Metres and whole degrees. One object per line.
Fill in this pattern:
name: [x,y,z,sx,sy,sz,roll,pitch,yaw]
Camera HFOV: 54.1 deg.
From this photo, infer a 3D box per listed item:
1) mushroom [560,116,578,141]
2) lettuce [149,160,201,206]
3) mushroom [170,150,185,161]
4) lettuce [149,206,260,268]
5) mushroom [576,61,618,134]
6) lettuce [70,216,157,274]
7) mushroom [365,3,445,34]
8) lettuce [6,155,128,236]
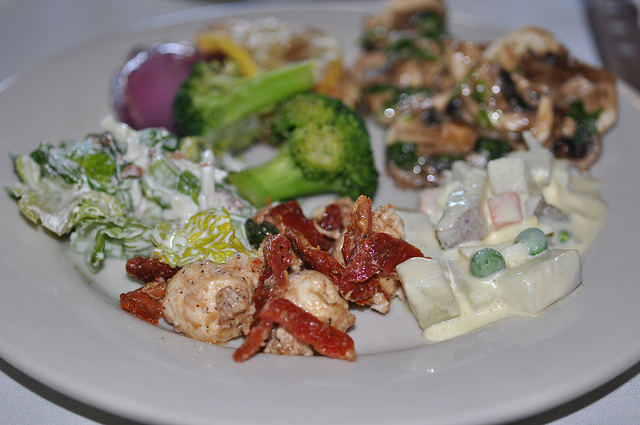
mushroom: [1.354,-0.465,3.463,0.061,0.115,0.116,1,61,12]
lettuce: [-0.713,-0.154,3.223,0.290,0.109,0.156,29,82,-3]
mushroom: [-0.723,-0.294,3.209,0.065,0.031,0.058,22,77,7]
lettuce: [-0.570,0.128,2.954,0.337,0.106,0.349,17,50,10]
mushroom: [1.542,-0.645,3.592,0.308,0.439,0.101,-28,56,18]
lettuce: [-1.006,0.122,3.038,0.319,0.140,0.324,-9,54,-32]
mushroom: [0.513,-1.221,3.906,0.390,0.107,0.231,-6,41,5]
lettuce: [-1.224,-0.069,3.110,0.434,0.444,0.159,35,93,21]
